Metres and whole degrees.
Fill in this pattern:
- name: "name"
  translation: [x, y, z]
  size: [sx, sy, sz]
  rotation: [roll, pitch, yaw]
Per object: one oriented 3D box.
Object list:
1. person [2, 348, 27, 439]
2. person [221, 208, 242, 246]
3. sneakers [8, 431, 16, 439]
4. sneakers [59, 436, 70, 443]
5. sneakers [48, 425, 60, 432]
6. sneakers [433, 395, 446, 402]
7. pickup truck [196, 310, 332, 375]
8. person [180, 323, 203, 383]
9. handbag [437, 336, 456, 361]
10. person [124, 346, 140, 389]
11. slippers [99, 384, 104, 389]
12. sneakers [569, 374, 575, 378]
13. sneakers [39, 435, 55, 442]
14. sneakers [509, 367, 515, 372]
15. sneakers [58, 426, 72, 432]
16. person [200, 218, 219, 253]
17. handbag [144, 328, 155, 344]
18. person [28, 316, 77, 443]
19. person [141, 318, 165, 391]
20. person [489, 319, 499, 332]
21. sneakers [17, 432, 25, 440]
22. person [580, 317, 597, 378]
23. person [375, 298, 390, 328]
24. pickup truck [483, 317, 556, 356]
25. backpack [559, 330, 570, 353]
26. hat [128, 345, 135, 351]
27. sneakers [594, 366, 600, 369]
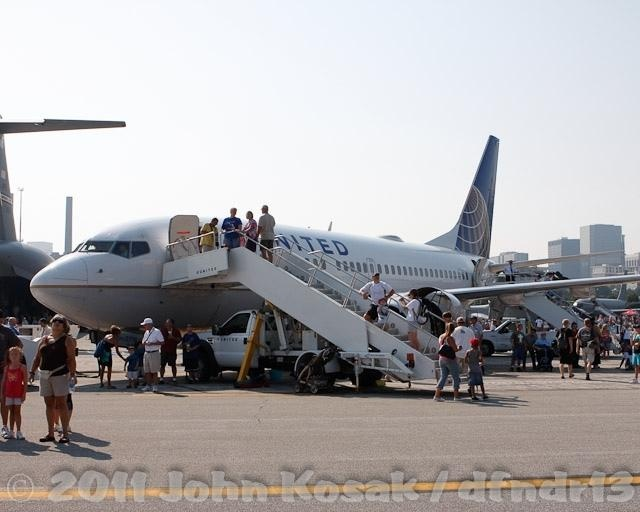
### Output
- name: "person"
  translation: [-4.794, 2.127, 13.796]
  size: [0.358, 1.410, 0.506]
  rotation: [3, -6, -19]
- name: "person"
  translation: [-2.251, -0.689, 22.560]
  size: [0.507, 1.097, 0.915]
  rotation: [2, -5, -6]
- name: "sneakers"
  translation: [-4.757, 2.765, 13.600]
  size: [0.110, 0.104, 0.109]
  rotation: [3, -5, -23]
- name: "sneakers"
  translation: [-3.840, 2.749, 13.236]
  size: [0.146, 0.108, 0.265]
  rotation: [3, -5, -17]
- name: "sneakers"
  translation: [-4.175, 2.701, 13.890]
  size: [0.162, 0.073, 0.215]
  rotation: [0, -2, 9]
- name: "sneakers"
  translation: [2.533, 2.981, 18.386]
  size: [0.282, 0.100, 0.096]
  rotation: [1, 0, -30]
- name: "pickup truck"
  translation: [-1.469, 2.199, 22.279]
  size: [3.005, 1.243, 1.672]
  rotation: [-1, -5, 33]
- name: "person"
  translation: [-3.248, 2.472, 22.166]
  size: [0.475, 1.409, 0.957]
  rotation: [2, -5, -8]
- name: "handbag"
  translation: [2.691, 1.943, 18.704]
  size: [0.364, 0.490, 0.333]
  rotation: [0, -5, 13]
- name: "person"
  translation: [-4.545, 2.668, 21.469]
  size: [0.379, 1.021, 1.017]
  rotation: [2, -5, -10]
- name: "slippers"
  translation: [-5.243, 3.090, 21.056]
  size: [0.070, 0.116, 0.126]
  rotation: [3, 7, 4]
- name: "sneakers"
  translation: [6.865, 3.277, 24.060]
  size: [0.081, 0.073, 0.208]
  rotation: [-1, -11, 3]
- name: "sneakers"
  translation: [-4.138, 2.767, 13.372]
  size: [0.104, 0.093, 0.236]
  rotation: [-9, -17, 33]
- name: "sneakers"
  translation: [6.069, 3.567, 27.786]
  size: [0.166, 0.210, 0.150]
  rotation: [-1, 22, 1]
- name: "sneakers"
  translation: [-4.060, 2.739, 13.948]
  size: [0.105, 0.124, 0.327]
  rotation: [3, -14, -31]
- name: "person"
  translation: [-2.915, -0.543, 23.112]
  size: [0.479, 0.986, 1.626]
  rotation: [2, -5, -8]
- name: "handbag"
  translation: [-4.029, 1.887, 20.647]
  size: [0.256, 0.311, 0.115]
  rotation: [0, -3, -5]
- name: "person"
  translation: [-4.125, 1.891, 13.675]
  size: [0.616, 1.896, 1.123]
  rotation: [3, -5, -19]
- name: "person"
  translation: [-3.947, 2.309, 20.680]
  size: [0.469, 1.642, 1.339]
  rotation: [2, -5, -11]
- name: "person"
  translation: [7.503, 2.978, 38.026]
  size: [0.551, 0.430, 1.433]
  rotation: [-6, 0, 11]
- name: "sneakers"
  translation: [-4.648, 2.775, 13.659]
  size: [0.123, 0.105, 0.262]
  rotation: [3, -5, -18]
- name: "person"
  translation: [7.363, 2.519, 24.285]
  size: [0.517, 1.635, 1.568]
  rotation: [0, -5, 17]
- name: "person"
  translation: [1.523, 1.393, 21.265]
  size: [0.278, 0.717, 0.648]
  rotation: [1, -5, 4]
- name: "pickup truck"
  translation: [8.618, 3.446, 36.960]
  size: [3.583, 1.612, 1.986]
  rotation: [1, -3, 8]
- name: "backpack"
  translation: [6.695, 2.289, 24.021]
  size: [0.261, 0.649, 0.567]
  rotation: [1, -5, 1]
- name: "hat"
  translation: [-4.548, 2.198, 21.100]
  size: [0.121, 0.100, 0.094]
  rotation: [-11, -15, 28]
- name: "sneakers"
  translation: [9.061, 3.633, 28.865]
  size: [0.172, 0.056, 0.162]
  rotation: [-2, -6, 2]
